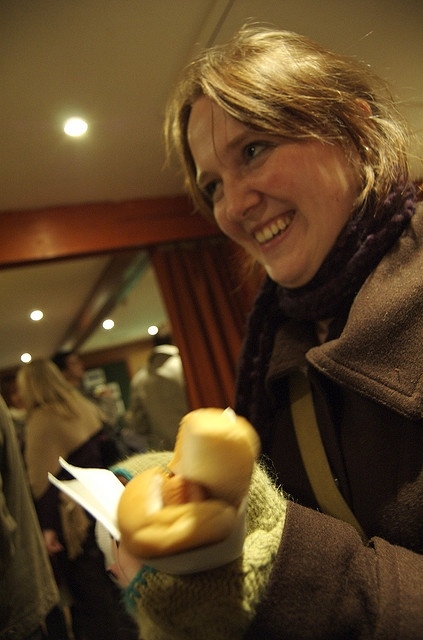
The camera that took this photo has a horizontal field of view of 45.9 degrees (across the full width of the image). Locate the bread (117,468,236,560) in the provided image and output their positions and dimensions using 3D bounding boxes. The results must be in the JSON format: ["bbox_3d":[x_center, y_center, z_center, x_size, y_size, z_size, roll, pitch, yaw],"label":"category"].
[{"bbox_3d":[-0.017,0.103,0.266,0.056,0.043,0.023,-6,-43,1],"label":"bread"}]

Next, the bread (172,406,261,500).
[{"bbox_3d":[0.006,0.070,0.286,0.044,0.041,0.041,-3,16,-21],"label":"bread"}]
